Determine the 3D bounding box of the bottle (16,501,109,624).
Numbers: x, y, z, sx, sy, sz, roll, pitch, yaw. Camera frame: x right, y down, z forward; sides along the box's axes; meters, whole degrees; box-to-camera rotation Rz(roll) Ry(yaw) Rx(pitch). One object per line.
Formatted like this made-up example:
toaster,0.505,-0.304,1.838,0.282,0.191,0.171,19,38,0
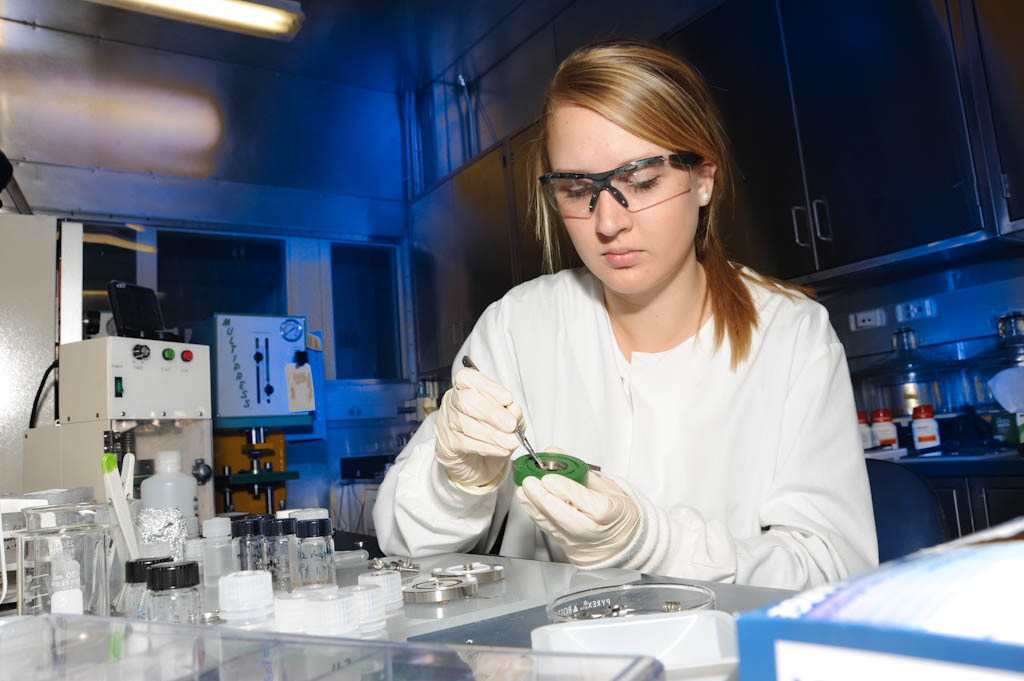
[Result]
bottle,-0.868,0.437,1.474,0.180,0.311,0.161,2,-7,-29

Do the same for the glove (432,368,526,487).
glove,-0.081,0.214,1.860,0.204,0.305,0.168,-2,-8,-8

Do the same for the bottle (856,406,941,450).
bottle,1.706,0.390,3.345,0.250,0.171,0.091,-9,-18,34

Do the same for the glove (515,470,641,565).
glove,0.146,0.398,1.677,0.217,0.208,0.262,-9,-10,34
